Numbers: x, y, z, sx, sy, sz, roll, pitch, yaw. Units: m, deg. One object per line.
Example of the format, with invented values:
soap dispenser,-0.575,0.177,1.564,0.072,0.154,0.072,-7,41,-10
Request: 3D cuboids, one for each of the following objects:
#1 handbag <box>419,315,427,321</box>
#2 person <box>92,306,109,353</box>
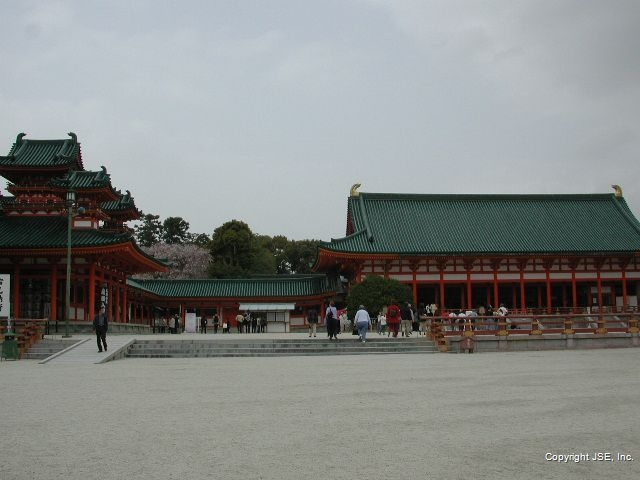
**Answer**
handbag,4.729,3.575,31.138,0.314,0.203,0.319,0,-5,-2
person,-7.928,3.283,24.545,0.477,1.544,1.477,1,-11,-18
